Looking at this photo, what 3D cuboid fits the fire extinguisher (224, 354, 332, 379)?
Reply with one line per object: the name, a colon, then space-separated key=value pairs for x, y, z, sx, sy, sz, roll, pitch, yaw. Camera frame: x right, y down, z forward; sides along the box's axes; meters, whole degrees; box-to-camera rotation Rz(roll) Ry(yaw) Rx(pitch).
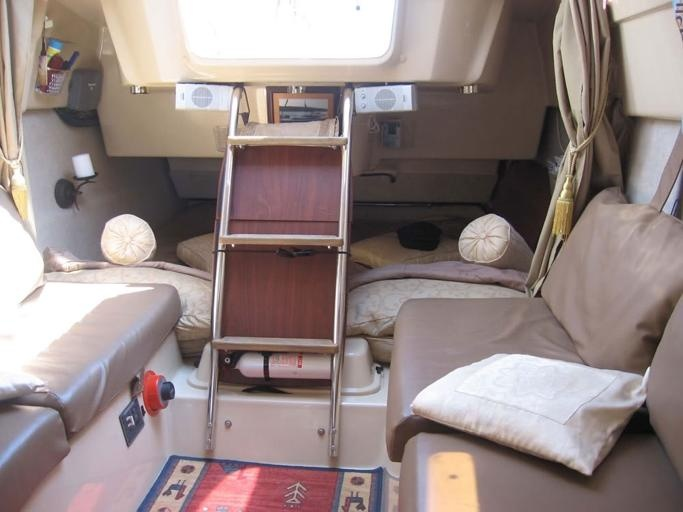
fire extinguisher: x=-0.225 y=0.447 z=2.225 sx=0.509 sy=0.138 sz=0.153 roll=0 pitch=-85 yaw=2
